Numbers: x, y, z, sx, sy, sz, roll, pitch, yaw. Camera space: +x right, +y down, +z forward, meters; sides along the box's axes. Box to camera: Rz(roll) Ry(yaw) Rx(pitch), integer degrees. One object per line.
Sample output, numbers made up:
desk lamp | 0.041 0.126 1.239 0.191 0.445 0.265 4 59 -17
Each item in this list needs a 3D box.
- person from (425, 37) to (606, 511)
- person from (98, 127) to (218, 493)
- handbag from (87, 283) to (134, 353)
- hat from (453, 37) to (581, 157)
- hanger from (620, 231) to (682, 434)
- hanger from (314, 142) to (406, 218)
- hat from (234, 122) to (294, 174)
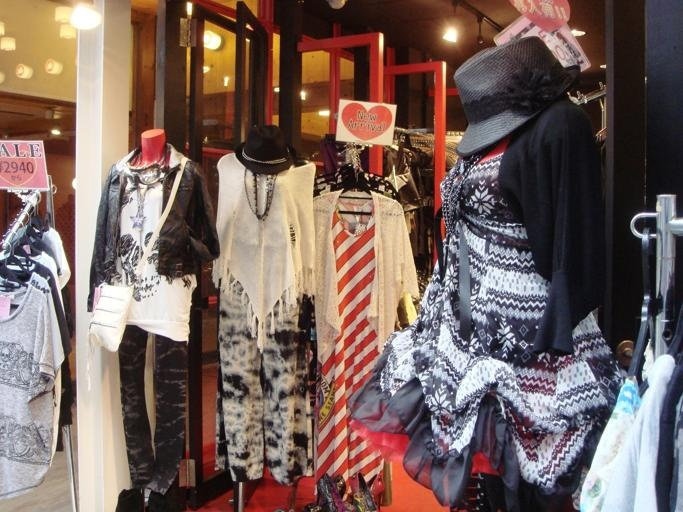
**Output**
person | 0.539 0.024 3.125 0.632 2.088 1.197 -1 -2 2
person | -0.926 0.295 3.438 0.607 1.820 0.512 0 -4 -19
handbag | -1.066 0.284 3.216 0.193 0.304 0.088 4 -3 16
hat | 0.586 -0.604 2.538 0.506 0.299 0.490 -24 11 9
hanger | 1.002 0.252 2.239 0.059 0.697 0.512 4 4 32
hanger | 0.065 -0.504 3.989 0.444 0.504 0.825 -2 -4 -2
hat | -0.380 -0.524 3.437 0.282 0.246 0.154 -1 -4 -10
